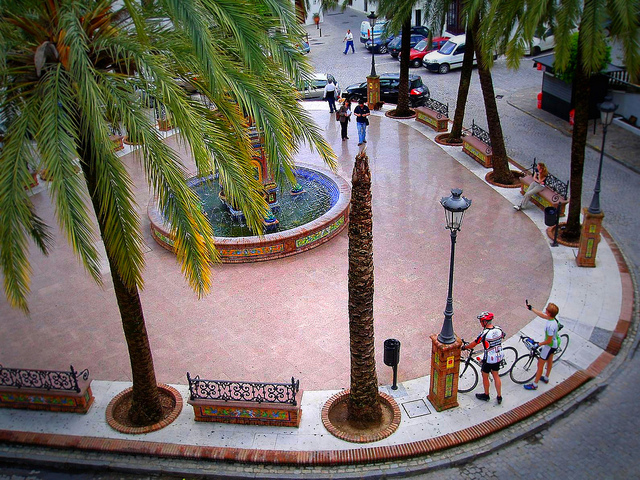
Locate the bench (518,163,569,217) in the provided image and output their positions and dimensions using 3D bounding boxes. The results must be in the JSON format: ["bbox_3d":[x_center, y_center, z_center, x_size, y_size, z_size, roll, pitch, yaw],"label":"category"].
[{"bbox_3d":[7.533,-1.713,16.157,0.677,1.157,1.904,-18,38,-6],"label":"bench"}]

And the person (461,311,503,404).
[{"bbox_3d":[3.379,2.520,10.013,0.926,1.984,0.859,-20,34,-17],"label":"person"}]

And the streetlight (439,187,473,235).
[{"bbox_3d":[2.498,-0.476,8.947,0.465,1.025,0.656,7,30,16],"label":"streetlight"}]

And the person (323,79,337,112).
[{"bbox_3d":[0.561,-7.402,25.144,0.574,1.470,0.494,-3,28,-3],"label":"person"}]

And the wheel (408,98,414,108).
[{"bbox_3d":[4.911,-7.365,25.942,0.136,0.489,0.473,-12,12,6],"label":"wheel"}]

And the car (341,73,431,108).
[{"bbox_3d":[3.493,-7.916,26.817,4.741,1.846,2.232,4,41,5],"label":"car"}]

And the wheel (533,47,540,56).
[{"bbox_3d":[14.152,-12.284,31.349,0.598,0.495,0.162,-22,34,-32],"label":"wheel"}]

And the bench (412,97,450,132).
[{"bbox_3d":[5.419,-6.112,23.337,1.594,1.115,2.590,-3,29,-2],"label":"bench"}]

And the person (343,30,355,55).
[{"bbox_3d":[2.095,-14.710,35.703,0.842,1.662,1.368,-1,29,1],"label":"person"}]

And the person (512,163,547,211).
[{"bbox_3d":[6.914,-1.779,15.867,1.632,1.013,0.496,-36,39,-26],"label":"person"}]

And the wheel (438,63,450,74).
[{"bbox_3d":[7.819,-10.801,30.318,0.800,0.621,0.225,-6,29,-7],"label":"wheel"}]

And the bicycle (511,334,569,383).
[{"bbox_3d":[4.743,2.567,10.280,1.143,0.701,0.366,-26,40,-17],"label":"bicycle"}]

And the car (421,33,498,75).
[{"bbox_3d":[7.952,-11.643,30.569,2.575,1.873,1.510,-11,30,-16],"label":"car"}]

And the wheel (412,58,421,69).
[{"bbox_3d":[6.390,-11.779,32.038,0.568,0.609,0.192,-9,22,0],"label":"wheel"}]

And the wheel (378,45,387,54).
[{"bbox_3d":[4.541,-13.904,35.006,0.496,0.516,0.165,19,26,-14],"label":"wheel"}]
